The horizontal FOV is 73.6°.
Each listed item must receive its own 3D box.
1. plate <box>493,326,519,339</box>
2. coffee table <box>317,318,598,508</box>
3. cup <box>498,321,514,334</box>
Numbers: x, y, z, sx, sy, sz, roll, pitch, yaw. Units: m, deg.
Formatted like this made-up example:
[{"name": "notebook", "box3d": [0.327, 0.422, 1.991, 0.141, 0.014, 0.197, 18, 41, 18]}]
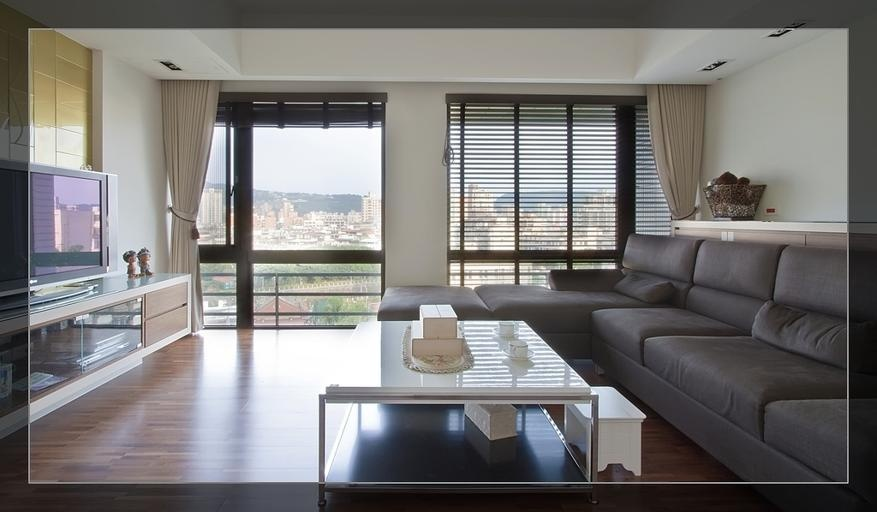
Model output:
[{"name": "plate", "box3d": [0.504, 0.549, 4.297, 0.117, 0.047, 0.114, -1, -2, 28]}, {"name": "coffee table", "box3d": [0.004, 0.920, 4.194, 1.303, 0.537, 1.303, 0, 5, -2]}, {"name": "cup", "box3d": [0.503, 0.524, 4.321, 0.092, 0.058, 0.086, 0, -3, 0]}]
